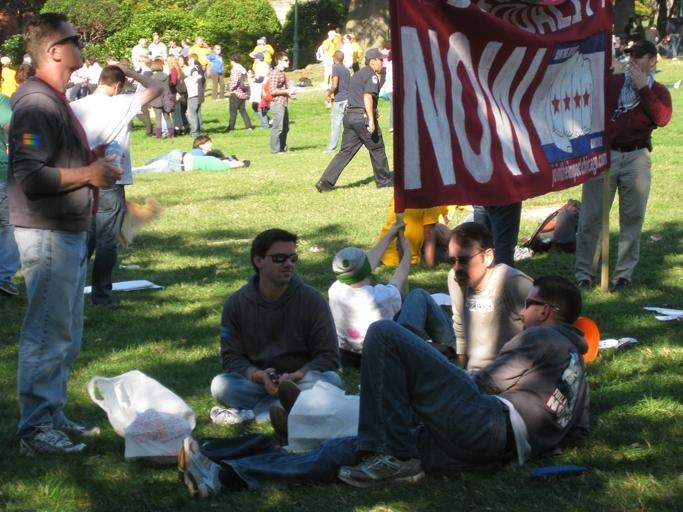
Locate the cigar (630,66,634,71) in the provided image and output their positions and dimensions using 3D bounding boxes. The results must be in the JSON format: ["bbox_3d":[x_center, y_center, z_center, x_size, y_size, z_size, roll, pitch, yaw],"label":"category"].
[{"bbox_3d":[3.243,-2.092,13.484,0.057,0.056,0.014,0,-11,11],"label":"cigar"}]

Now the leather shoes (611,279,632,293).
[{"bbox_3d":[3.208,0.334,13.833,0.249,0.154,0.197,0,0,-20],"label":"leather shoes"}]

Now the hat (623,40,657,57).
[{"bbox_3d":[3.366,-2.329,13.602,0.339,0.195,0.312,5,10,28],"label":"hat"}]

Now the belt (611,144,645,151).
[{"bbox_3d":[3.249,-1.221,13.655,0.381,0.072,0.112,3,9,13],"label":"belt"}]

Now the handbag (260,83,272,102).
[{"bbox_3d":[-1.674,-3.714,27.315,0.181,0.568,0.406,1,15,17],"label":"handbag"}]

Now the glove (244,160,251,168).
[{"bbox_3d":[-1.833,-1.813,23.672,0.132,0.146,0.112,7,10,40],"label":"glove"}]

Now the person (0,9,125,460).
[{"bbox_3d":[-2.515,-0.220,10.671,0.754,3.787,0.841,7,11,38],"label":"person"}]

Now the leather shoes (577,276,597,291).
[{"bbox_3d":[2.793,0.299,13.817,0.145,0.161,0.373,-2,-2,15],"label":"leather shoes"}]

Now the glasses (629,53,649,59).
[{"bbox_3d":[3.312,-2.234,13.537,0.147,0.069,0.092,-9,7,23],"label":"glasses"}]

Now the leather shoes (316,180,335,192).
[{"bbox_3d":[-0.266,-1.174,20.217,0.303,0.146,0.135,1,11,-9],"label":"leather shoes"}]

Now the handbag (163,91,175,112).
[{"bbox_3d":[-4.003,-3.578,28.086,0.271,0.390,0.175,-3,-1,5],"label":"handbag"}]

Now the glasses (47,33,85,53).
[{"bbox_3d":[-2.404,-1.890,10.658,0.133,0.126,0.336,5,10,26],"label":"glasses"}]

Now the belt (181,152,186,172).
[{"bbox_3d":[-3.053,-1.839,23.586,0.056,0.235,0.233,3,-8,-10],"label":"belt"}]

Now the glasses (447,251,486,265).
[{"bbox_3d":[1.107,0.010,10.984,0.348,0.130,0.116,7,11,33],"label":"glasses"}]

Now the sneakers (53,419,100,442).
[{"bbox_3d":[-2.384,1.532,10.968,0.429,0.180,0.155,6,24,1],"label":"sneakers"}]

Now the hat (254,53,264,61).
[{"bbox_3d":[-2.060,-5.017,30.522,0.220,0.107,0.321,-1,12,-3],"label":"hat"}]
